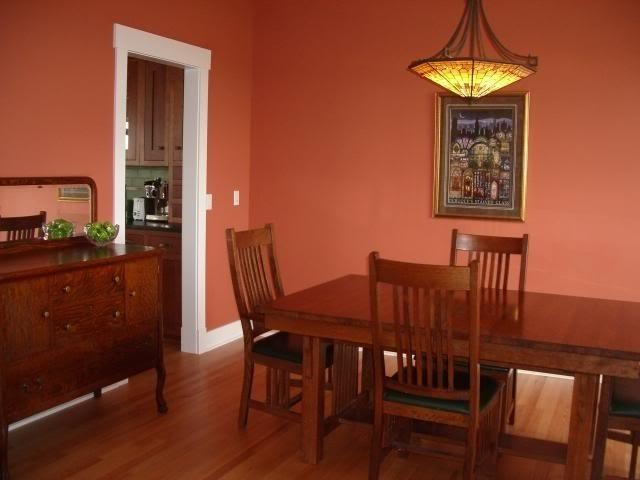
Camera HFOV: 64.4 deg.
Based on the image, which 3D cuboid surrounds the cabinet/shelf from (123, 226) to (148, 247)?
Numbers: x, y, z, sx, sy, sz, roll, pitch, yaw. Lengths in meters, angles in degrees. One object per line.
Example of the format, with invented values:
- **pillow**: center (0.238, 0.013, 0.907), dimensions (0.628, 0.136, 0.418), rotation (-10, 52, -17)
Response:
- **cabinet/shelf**: center (-1.689, -0.036, 4.663), dimensions (0.157, 0.163, 0.090), rotation (2, 3, 24)

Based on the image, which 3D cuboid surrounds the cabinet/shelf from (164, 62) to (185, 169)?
- **cabinet/shelf**: center (-1.443, -1.230, 5.048), dimensions (0.112, 0.997, 0.314), rotation (-7, 12, -44)

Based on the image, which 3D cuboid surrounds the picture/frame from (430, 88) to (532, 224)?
- **picture/frame**: center (1.386, -0.727, 4.256), dimensions (0.986, 1.518, 0.065), rotation (4, 7, 20)

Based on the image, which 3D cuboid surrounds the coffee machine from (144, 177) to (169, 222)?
- **coffee machine**: center (-1.738, -0.431, 5.387), dimensions (0.239, 0.433, 0.524), rotation (-2, 10, -19)

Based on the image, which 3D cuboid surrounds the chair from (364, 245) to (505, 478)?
- **chair**: center (0.592, 0.705, 2.713), dimensions (0.748, 1.340, 0.746), rotation (4, 9, 20)

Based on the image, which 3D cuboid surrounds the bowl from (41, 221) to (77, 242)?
- **bowl**: center (-1.751, -0.059, 3.390), dimensions (0.111, 0.091, 0.121), rotation (1, 9, 0)

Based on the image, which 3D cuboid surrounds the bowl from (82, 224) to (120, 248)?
- **bowl**: center (-1.459, -0.029, 3.390), dimensions (0.163, 0.123, 0.167), rotation (2, 0, 0)
